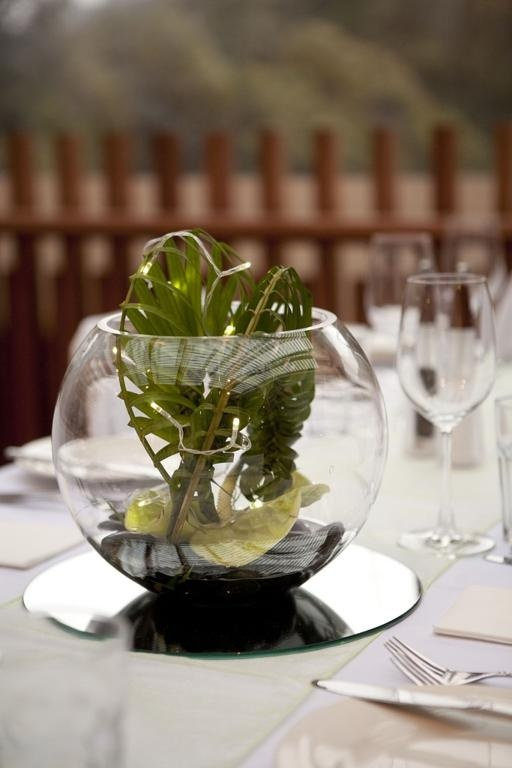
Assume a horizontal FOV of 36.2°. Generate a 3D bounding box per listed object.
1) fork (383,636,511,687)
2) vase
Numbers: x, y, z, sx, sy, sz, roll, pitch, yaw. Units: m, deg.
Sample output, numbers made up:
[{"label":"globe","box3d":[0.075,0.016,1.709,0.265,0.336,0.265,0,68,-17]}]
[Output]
[{"label":"fork","box3d":[0.078,0.124,0.354,0.068,0.008,0.016,0,14,26]},{"label":"vase","box3d":[-0.017,0.044,0.374,0.202,0.111,0.183,-1,1,-5]}]
